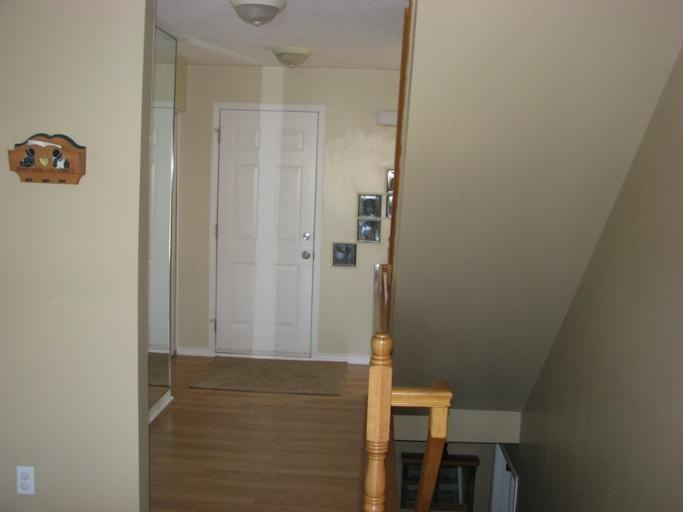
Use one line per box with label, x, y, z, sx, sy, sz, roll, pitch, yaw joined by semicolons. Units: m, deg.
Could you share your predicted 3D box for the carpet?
carpet;-0.548;0.944;4.640;1.139;0.030;0.670;2;13;3
